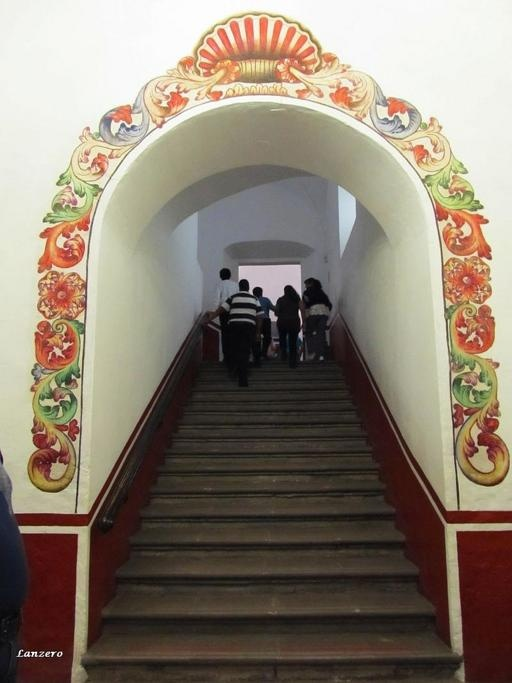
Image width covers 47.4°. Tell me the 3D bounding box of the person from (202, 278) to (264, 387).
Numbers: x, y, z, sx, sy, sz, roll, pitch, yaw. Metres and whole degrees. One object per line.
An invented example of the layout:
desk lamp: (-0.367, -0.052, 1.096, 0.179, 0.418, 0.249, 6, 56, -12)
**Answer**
person: (-0.180, -0.093, 6.560, 0.520, 1.329, 0.960, 3, -10, -13)

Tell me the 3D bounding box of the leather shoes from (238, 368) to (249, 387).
leather shoes: (-0.129, 0.373, 6.042, 0.101, 0.208, 0.093, 3, -10, -15)
